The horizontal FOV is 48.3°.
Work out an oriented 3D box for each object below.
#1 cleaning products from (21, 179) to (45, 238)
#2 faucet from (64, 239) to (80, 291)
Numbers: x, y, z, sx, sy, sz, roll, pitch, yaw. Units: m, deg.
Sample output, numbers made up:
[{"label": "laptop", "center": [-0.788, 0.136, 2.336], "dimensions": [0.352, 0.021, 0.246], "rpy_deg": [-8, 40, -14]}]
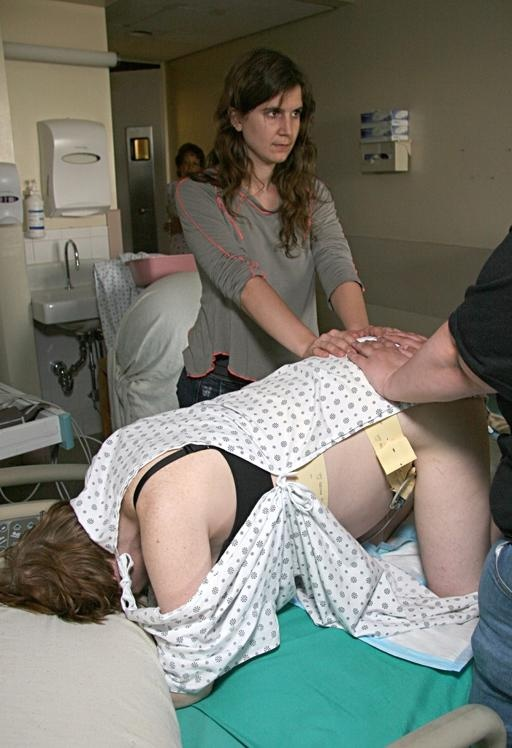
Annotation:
[{"label": "cleaning products", "center": [-1.216, -0.895, 3.100], "dimensions": [0.117, 0.294, 0.189], "rpy_deg": [-10, 9, -23]}, {"label": "faucet", "center": [-1.055, -0.629, 3.260], "dimensions": [0.100, 0.273, 0.236], "rpy_deg": [-9, 9, -15]}]
